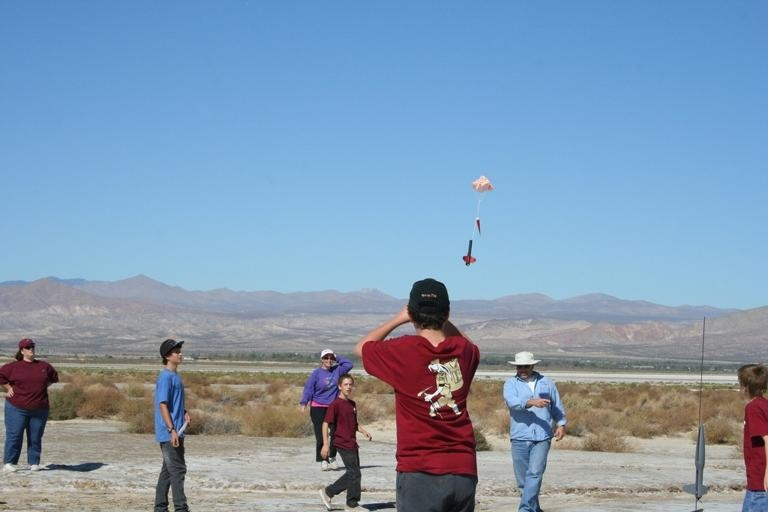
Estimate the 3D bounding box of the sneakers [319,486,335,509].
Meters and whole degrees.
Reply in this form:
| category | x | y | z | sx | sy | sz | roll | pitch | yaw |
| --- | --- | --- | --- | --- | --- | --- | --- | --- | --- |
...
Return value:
| category | x | y | z | sx | sy | sz | roll | pitch | yaw |
| --- | --- | --- | --- | --- | --- | --- | --- | --- | --- |
| sneakers | -1.312 | 5.498 | 21.098 | 0.244 | 0.577 | 0.206 | -18 | 7 | -2 |

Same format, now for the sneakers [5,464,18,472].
| category | x | y | z | sx | sy | sz | roll | pitch | yaw |
| --- | --- | --- | --- | --- | --- | --- | --- | --- | --- |
| sneakers | -9.182 | 5.186 | 22.789 | 0.258 | 0.171 | 0.157 | -3 | -1 | 8 |

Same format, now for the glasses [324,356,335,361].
| category | x | y | z | sx | sy | sz | roll | pitch | yaw |
| --- | --- | --- | --- | --- | --- | --- | --- | --- | --- |
| glasses | -1.372 | 2.661 | 24.315 | 0.133 | 0.132 | 0.442 | 1 | -1 | 20 |

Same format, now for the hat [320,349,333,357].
| category | x | y | z | sx | sy | sz | roll | pitch | yaw |
| --- | --- | --- | --- | --- | --- | --- | --- | --- | --- |
| hat | -1.478 | 2.530 | 24.199 | 0.346 | 0.183 | 0.492 | 2 | -10 | -6 |
